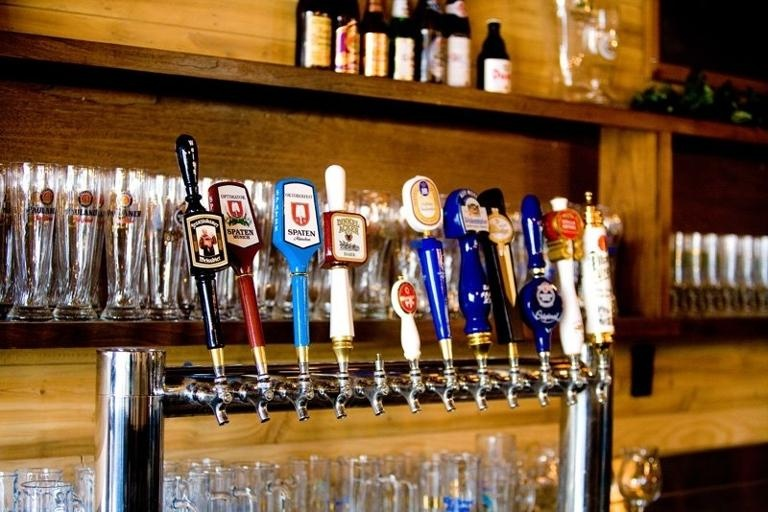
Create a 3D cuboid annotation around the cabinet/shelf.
[{"bbox_3d":[-0.111,0.063,2.580,1.691,1.300,0.697,-1,-8,-22],"label":"cabinet/shelf"}]
